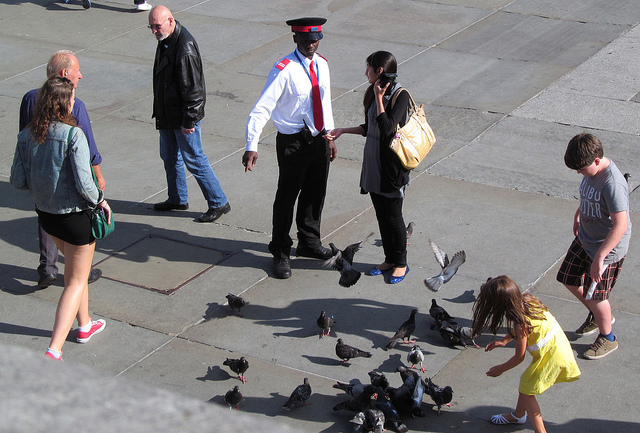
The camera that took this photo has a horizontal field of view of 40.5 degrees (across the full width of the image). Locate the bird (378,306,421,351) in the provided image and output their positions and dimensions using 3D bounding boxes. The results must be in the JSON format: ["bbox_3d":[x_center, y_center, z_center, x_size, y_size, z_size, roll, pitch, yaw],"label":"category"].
[{"bbox_3d":[0.864,1.201,9.248,0.175,0.316,0.500,14,18,40],"label":"bird"}]

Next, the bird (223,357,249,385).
[{"bbox_3d":[-0.861,1.563,8.945,0.261,0.275,0.171,8,26,12],"label":"bird"}]

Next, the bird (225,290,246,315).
[{"bbox_3d":[-0.971,0.912,9.797,0.131,0.204,0.337,-9,40,-25],"label":"bird"}]

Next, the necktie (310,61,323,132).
[{"bbox_3d":[-0.041,-1.362,9.972,0.125,0.781,0.039,-5,22,-10],"label":"necktie"}]

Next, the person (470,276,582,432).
[{"bbox_3d":[1.930,1.290,8.291,0.577,1.358,0.890,-17,32,-35],"label":"person"}]

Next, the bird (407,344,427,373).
[{"bbox_3d":[0.983,1.441,9.013,0.158,0.193,0.342,1,13,12],"label":"bird"}]

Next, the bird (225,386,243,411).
[{"bbox_3d":[-0.861,1.783,8.692,0.175,0.238,0.308,0,24,-6],"label":"bird"}]

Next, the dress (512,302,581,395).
[{"bbox_3d":[2.162,1.297,8.214,0.537,0.751,0.370,-1,26,-7],"label":"dress"}]

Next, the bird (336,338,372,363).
[{"bbox_3d":[0.407,1.451,9.122,0.459,0.256,0.180,-1,-11,8],"label":"bird"}]

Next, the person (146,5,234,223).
[{"bbox_3d":[-1.726,-1.289,11.013,1.127,2.678,0.580,18,30,29],"label":"person"}]

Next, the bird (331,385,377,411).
[{"bbox_3d":[0.340,1.786,8.482,0.351,0.118,0.244,-18,24,22],"label":"bird"}]

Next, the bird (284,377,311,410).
[{"bbox_3d":[-0.222,1.762,8.673,0.202,0.251,0.355,12,15,43],"label":"bird"}]

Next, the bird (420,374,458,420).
[{"bbox_3d":[1.187,1.753,8.581,0.210,0.306,0.449,-17,26,-23],"label":"bird"}]

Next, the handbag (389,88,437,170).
[{"bbox_3d":[1.046,-0.910,9.688,0.387,0.714,0.565,12,27,20],"label":"handbag"}]

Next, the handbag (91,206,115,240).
[{"bbox_3d":[-2.289,0.064,9.131,0.195,0.374,0.425,-4,5,7],"label":"handbag"}]
